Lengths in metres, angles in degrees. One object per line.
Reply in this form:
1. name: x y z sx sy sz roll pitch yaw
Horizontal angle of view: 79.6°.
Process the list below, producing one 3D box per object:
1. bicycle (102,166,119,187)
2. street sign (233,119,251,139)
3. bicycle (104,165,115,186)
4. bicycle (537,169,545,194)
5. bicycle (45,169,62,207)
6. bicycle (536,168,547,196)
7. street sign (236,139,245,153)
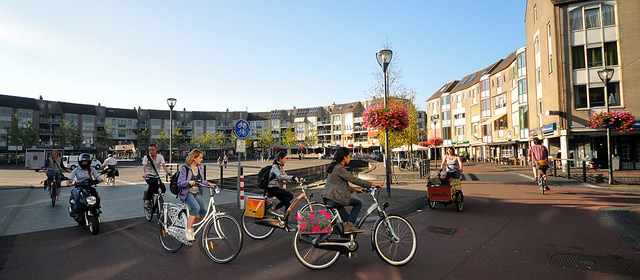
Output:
1. bicycle: -22.520 3.998 40.961 1.698 1.703 0.758 -2 -2 17
2. street sign: -6.891 -0.912 33.227 1.298 1.655 1.102 -1 -2 -13
3. bicycle: -22.525 4.101 40.993 1.637 1.493 0.602 -3 -3 35
4. bicycle: 20.580 3.977 35.602 0.342 2.006 0.447 -1 -2 -1
5. bicycle: -23.453 4.214 33.783 0.639 3.230 0.980 0 -2 -32
6. bicycle: 20.684 3.877 35.758 0.622 2.469 1.486 -2 -3 27
7. street sign: -6.958 0.527 33.389 0.711 1.146 0.511 -1 -2 -12
